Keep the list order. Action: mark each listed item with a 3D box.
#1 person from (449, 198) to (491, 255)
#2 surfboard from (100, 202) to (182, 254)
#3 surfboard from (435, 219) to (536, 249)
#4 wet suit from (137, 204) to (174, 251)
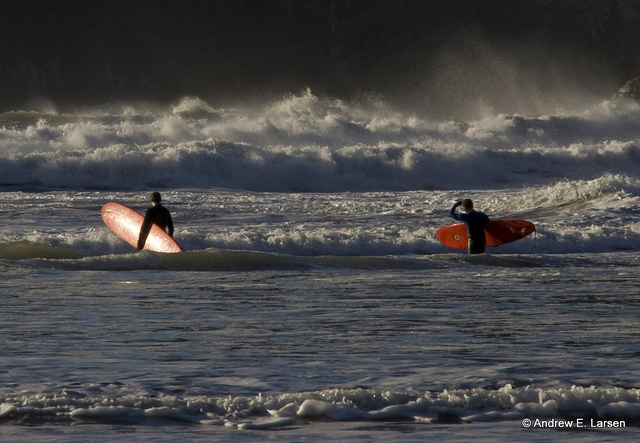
[{"bbox_3d":[2.880,0.112,21.508,0.682,1.102,1.136,-2,9,13],"label":"person"},{"bbox_3d":[-3.587,0.179,22.148,0.720,0.188,2.928,-29,33,-23],"label":"surfboard"},{"bbox_3d":[3.416,0.257,22.925,2.405,0.582,0.307,-7,-4,39],"label":"surfboard"},{"bbox_3d":[-3.033,0.116,20.922,0.710,0.824,0.311,-7,10,-17],"label":"wet suit"}]
